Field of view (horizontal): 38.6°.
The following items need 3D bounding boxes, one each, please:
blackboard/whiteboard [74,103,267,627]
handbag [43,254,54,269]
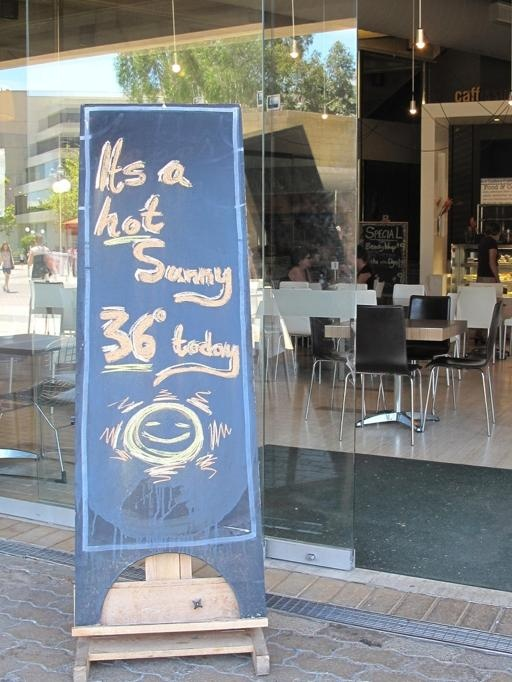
[{"bbox_3d":[-0.296,0.046,2.350,0.586,1.630,0.348,-2,6,-5],"label":"blackboard/whiteboard"},{"bbox_3d":[-1.034,-0.395,3.659,0.043,0.075,0.019,-6,13,32],"label":"handbag"}]
